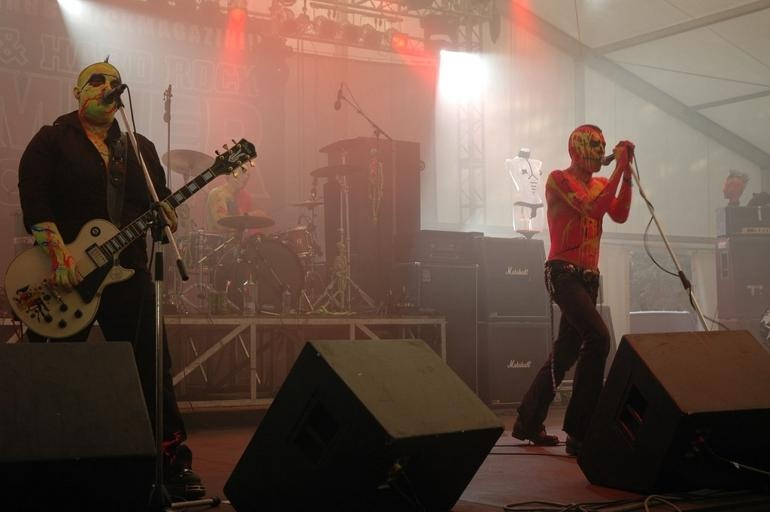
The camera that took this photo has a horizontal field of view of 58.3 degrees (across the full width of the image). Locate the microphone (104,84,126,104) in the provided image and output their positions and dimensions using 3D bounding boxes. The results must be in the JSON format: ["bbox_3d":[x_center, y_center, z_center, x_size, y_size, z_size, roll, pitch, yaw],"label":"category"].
[{"bbox_3d":[-1.525,-0.914,3.929,0.071,0.077,0.211,20,-29,-29],"label":"microphone"}]

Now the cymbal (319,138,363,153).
[{"bbox_3d":[-0.500,-1.277,7.921,0.271,0.084,0.273,-8,11,24],"label":"cymbal"}]

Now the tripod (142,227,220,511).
[{"bbox_3d":[-1.110,0.603,3.832,0.338,1.525,0.569,1,-3,-19],"label":"tripod"}]

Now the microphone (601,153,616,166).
[{"bbox_3d":[1.622,-0.706,4.999,0.044,0.059,0.158,-18,-1,-18],"label":"microphone"}]

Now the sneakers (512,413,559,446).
[{"bbox_3d":[1.089,1.311,5.182,0.377,0.208,0.160,11,-1,-4],"label":"sneakers"}]

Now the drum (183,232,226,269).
[{"bbox_3d":[-1.992,-0.057,7.545,0.360,0.304,0.327,2,-6,-14],"label":"drum"}]

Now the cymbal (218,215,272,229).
[{"bbox_3d":[-1.517,-0.372,7.542,0.270,0.065,0.292,-3,-7,7],"label":"cymbal"}]

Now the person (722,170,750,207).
[{"bbox_3d":[5.102,-1.025,10.103,0.302,0.661,1.118,-2,-3,28],"label":"person"}]

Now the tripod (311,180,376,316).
[{"bbox_3d":[-0.443,-0.164,7.425,0.607,1.503,0.522,-2,-3,35],"label":"tripod"}]
